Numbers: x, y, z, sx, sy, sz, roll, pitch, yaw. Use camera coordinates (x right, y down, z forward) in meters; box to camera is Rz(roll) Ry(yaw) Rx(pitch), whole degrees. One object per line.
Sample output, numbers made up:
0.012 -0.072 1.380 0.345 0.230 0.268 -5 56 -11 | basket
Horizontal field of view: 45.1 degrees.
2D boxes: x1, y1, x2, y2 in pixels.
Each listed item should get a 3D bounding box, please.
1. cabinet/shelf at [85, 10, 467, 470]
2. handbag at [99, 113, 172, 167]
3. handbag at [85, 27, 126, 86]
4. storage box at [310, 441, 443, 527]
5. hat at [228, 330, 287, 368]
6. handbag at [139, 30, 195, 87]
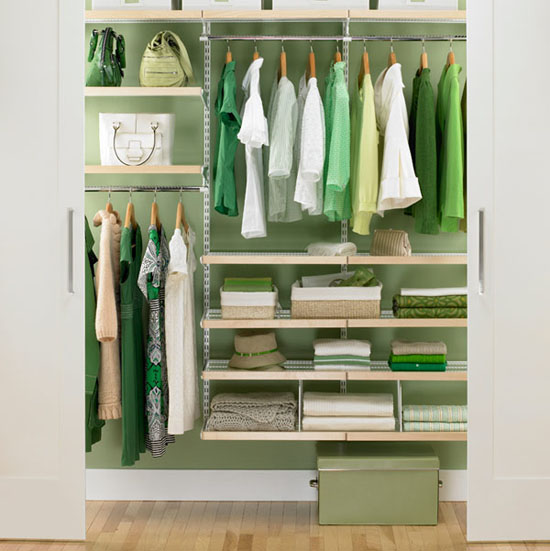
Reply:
-0.007 -0.215 3.125 1.709 2.047 0.610 0 6 3 | cabinet/shelf
-0.645 -0.630 3.065 0.299 0.269 0.232 0 2 -2 | handbag
-0.787 -0.998 3.053 0.177 0.272 0.163 -3 7 -6 | handbag
0.466 0.973 3.000 0.333 0.252 0.379 0 -2 0 | storage box
-0.084 0.361 3.165 0.183 0.121 0.171 -6 6 17 | hat
-0.496 -0.937 3.112 0.281 0.405 0.210 -2 5 -9 | handbag
